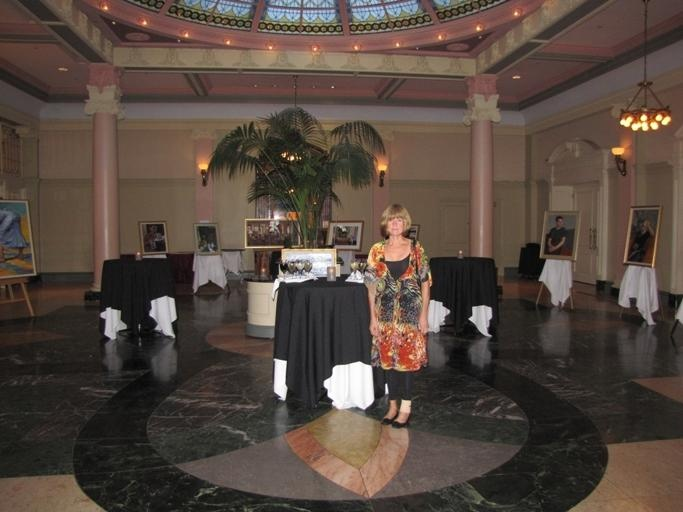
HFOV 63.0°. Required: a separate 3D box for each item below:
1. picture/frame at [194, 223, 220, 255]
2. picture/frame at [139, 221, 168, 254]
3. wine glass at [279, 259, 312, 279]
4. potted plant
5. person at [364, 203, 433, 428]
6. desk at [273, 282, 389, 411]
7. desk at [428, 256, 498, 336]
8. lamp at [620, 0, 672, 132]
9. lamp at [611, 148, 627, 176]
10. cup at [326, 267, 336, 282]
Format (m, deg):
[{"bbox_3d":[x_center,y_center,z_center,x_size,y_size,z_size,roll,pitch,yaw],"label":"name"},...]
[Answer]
[{"bbox_3d":[-2.952,-0.365,12.235,0.640,0.865,0.062,4,-12,-35],"label":"picture/frame"},{"bbox_3d":[-4.064,-0.387,12.084,0.687,0.915,0.091,-5,0,-37],"label":"picture/frame"},{"bbox_3d":[-0.529,0.173,6.591,0.236,0.181,0.253,-1,-4,-1],"label":"wine glass"},{"bbox_3d":[-0.565,-1.165,8.127,2.252,2.318,2.627,1,7,36],"label":"potted plant"},{"bbox_3d":[0.516,0.554,5.145,0.580,2.010,0.363,1,10,8],"label":"person"},{"bbox_3d":[-0.205,0.705,5.804,0.964,1.222,0.967,0,27,2],"label":"desk"},{"bbox_3d":[1.792,0.598,8.171,0.985,1.098,0.415,1,10,9],"label":"desk"},{"bbox_3d":[5.402,-3.196,9.742,0.820,1.970,2.677,5,11,25],"label":"lamp"},{"bbox_3d":[5.673,-1.913,11.351,0.304,0.593,0.596,5,11,27],"label":"lamp"},{"bbox_3d":[-0.104,0.197,6.035,0.126,0.149,0.130,2,0,0],"label":"cup"}]
